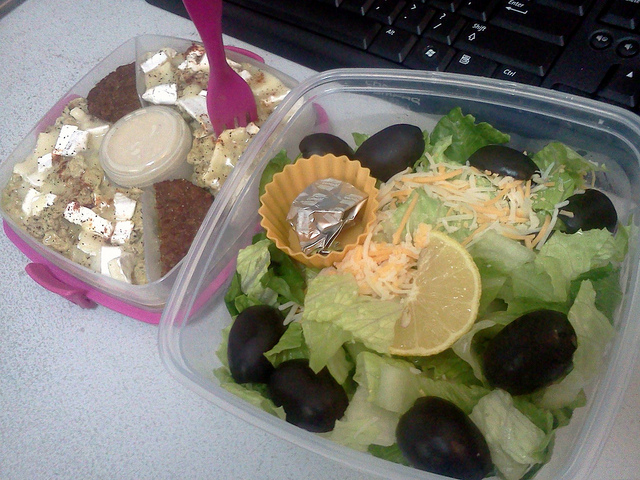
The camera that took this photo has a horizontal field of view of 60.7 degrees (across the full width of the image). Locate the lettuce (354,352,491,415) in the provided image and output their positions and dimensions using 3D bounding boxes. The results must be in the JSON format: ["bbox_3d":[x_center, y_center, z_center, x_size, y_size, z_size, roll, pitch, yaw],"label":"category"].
[{"bbox_3d":[0.182,0.289,1.072,0.221,0.039,0.123,13,81,0],"label":"lettuce"}]

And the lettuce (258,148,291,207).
[{"bbox_3d":[-0.112,-0.149,1.301,0.040,0.124,0.077,17,30,41],"label":"lettuce"}]

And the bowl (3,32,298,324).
[{"bbox_3d":[-0.480,-0.164,1.816,0.730,0.195,0.857,26,73,16],"label":"bowl"}]

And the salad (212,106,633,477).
[{"bbox_3d":[0.285,0.124,1.394,0.735,0.231,0.788,20,76,13],"label":"salad"}]

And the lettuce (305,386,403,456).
[{"bbox_3d":[0.071,0.355,1.076,0.128,0.039,0.130,36,78,2],"label":"lettuce"}]

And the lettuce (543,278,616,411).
[{"bbox_3d":[0.509,0.220,1.081,0.094,0.126,0.232,25,61,13],"label":"lettuce"}]

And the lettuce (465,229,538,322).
[{"bbox_3d":[0.391,0.074,1.183,0.160,0.049,0.159,38,83,25],"label":"lettuce"}]
